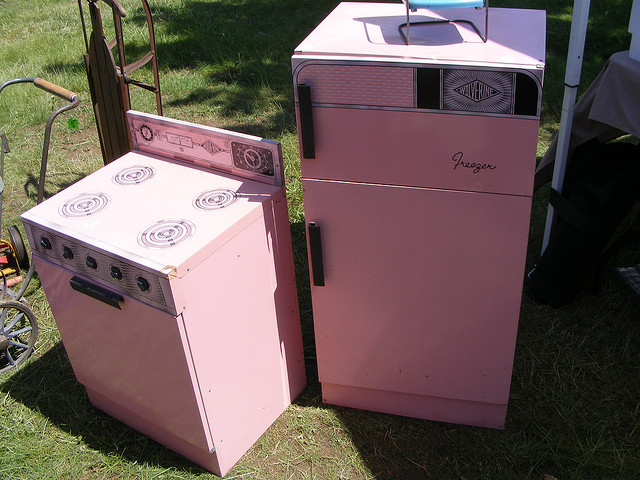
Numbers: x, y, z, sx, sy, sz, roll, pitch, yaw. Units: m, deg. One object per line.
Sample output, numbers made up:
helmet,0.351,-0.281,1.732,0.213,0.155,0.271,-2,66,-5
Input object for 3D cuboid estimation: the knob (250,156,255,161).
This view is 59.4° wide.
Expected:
knob,-0.384,-0.463,3.172,0.016,0.025,0.010,10,14,26

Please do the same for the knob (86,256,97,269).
knob,-1.212,0.121,2.984,0.045,0.073,0.017,-5,19,28

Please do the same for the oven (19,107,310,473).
oven,-0.835,0.306,3.341,1.420,1.593,1.124,19,41,26

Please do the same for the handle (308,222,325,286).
handle,-0.022,0.094,3.143,0.063,0.354,0.024,2,24,16

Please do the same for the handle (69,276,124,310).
handle,-1.205,0.287,3.033,0.377,0.072,0.049,16,40,22

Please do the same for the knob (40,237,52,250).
knob,-1.514,0.020,3.104,0.070,0.053,0.022,46,27,14

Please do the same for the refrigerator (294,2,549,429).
refrigerator,0.693,0.121,3.640,1.201,2.918,1.183,6,31,18
